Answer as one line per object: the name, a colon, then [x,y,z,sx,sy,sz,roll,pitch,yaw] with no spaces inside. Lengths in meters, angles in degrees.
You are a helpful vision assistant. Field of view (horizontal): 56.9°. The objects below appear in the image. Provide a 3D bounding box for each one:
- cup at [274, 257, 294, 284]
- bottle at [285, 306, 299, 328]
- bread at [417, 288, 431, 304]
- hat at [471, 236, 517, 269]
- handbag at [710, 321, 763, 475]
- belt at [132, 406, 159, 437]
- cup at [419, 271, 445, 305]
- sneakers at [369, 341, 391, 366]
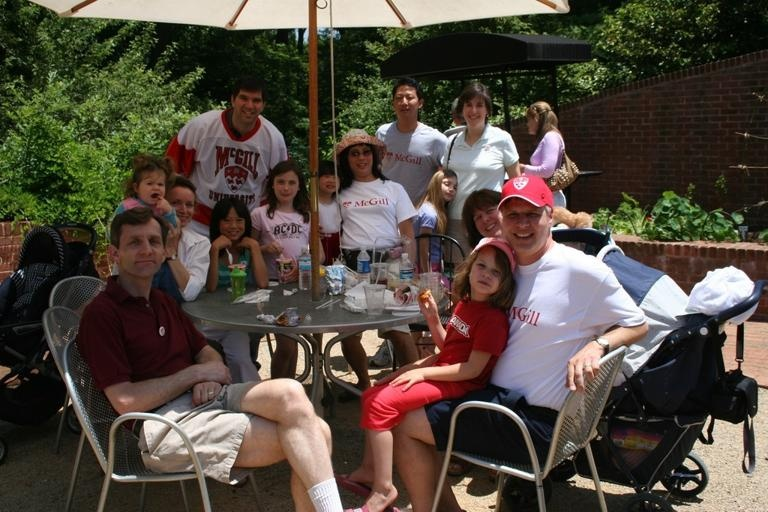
cup: [-0.872,0.135,6.138,0.190,0.215,0.191,-1,3,0]
bottle: [-0.665,0.448,5.143,0.114,0.146,0.112,-3,-23,-1]
bread: [0.283,0.285,5.137,0.074,0.090,0.040,7,45,5]
hat: [0.787,-0.011,4.953,0.285,0.218,0.474,1,-6,21]
handbag: [2.479,1.046,5.047,0.319,1.144,0.590,7,10,28]
belt: [-1.547,1.079,4.620,0.088,0.130,0.166,26,5,-31]
cup: [0.386,0.258,5.748,0.222,0.234,0.226,-1,5,0]
sneakers: [-0.040,1.010,7.368,0.189,0.109,0.272,2,52,19]
